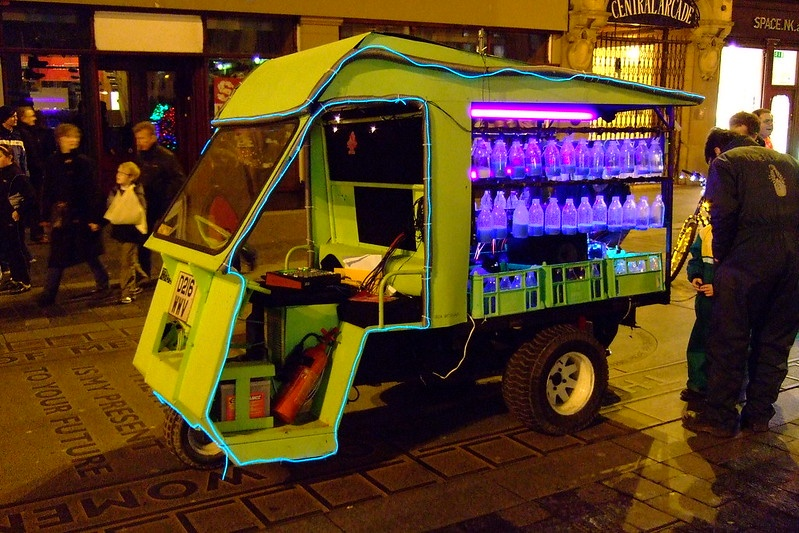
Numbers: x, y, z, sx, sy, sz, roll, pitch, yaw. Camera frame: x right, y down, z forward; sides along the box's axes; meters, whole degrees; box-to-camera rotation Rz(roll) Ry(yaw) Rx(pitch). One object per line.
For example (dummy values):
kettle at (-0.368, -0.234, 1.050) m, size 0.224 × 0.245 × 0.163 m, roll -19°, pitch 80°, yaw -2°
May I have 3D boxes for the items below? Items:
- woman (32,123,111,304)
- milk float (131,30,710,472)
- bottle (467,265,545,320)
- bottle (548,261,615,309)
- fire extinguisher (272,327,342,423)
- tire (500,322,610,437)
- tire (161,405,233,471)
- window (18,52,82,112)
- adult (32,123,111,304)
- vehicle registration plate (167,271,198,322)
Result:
woman at (-4.998, -0.789, 9.984) m, size 0.940 × 2.623 × 0.593 m, roll -6°, pitch 16°, yaw -26°
milk float at (0.116, -0.377, 7.842) m, size 6.132 × 4.265 × 3.390 m, roll -3°, pitch 6°, yaw -32°
bottle at (0.988, 0.250, 6.211) m, size 0.478 × 0.282 × 0.650 m, roll -8°, pitch 8°, yaw 1°
bottle at (1.732, 0.148, 6.681) m, size 0.575 × 0.354 × 0.410 m, roll -6°, pitch 2°, yaw -8°
fire extinguisher at (-0.822, 0.945, 5.832) m, size 0.245 × 0.719 × 0.612 m, roll 11°, pitch 17°, yaw 32°
tire at (1.483, 1.100, 6.426) m, size 0.978 × 0.979 × 0.349 m, roll -7°, pitch 17°, yaw -31°
tire at (-1.807, 1.528, 5.913) m, size 0.206 × 0.564 × 0.566 m, roll -22°, pitch -4°, yaw 37°
window at (-7.013, -3.674, 13.706) m, size 1.315 × 1.233 × 0.782 m, roll 0°, pitch -1°, yaw 9°
adult at (-4.996, -0.786, 9.975) m, size 0.936 × 2.623 × 0.579 m, roll -5°, pitch 16°, yaw -25°
vehicle registration plate at (-1.894, 0.258, 5.766) m, size 0.059 × 0.443 × 0.401 m, roll 12°, pitch 1°, yaw -34°
